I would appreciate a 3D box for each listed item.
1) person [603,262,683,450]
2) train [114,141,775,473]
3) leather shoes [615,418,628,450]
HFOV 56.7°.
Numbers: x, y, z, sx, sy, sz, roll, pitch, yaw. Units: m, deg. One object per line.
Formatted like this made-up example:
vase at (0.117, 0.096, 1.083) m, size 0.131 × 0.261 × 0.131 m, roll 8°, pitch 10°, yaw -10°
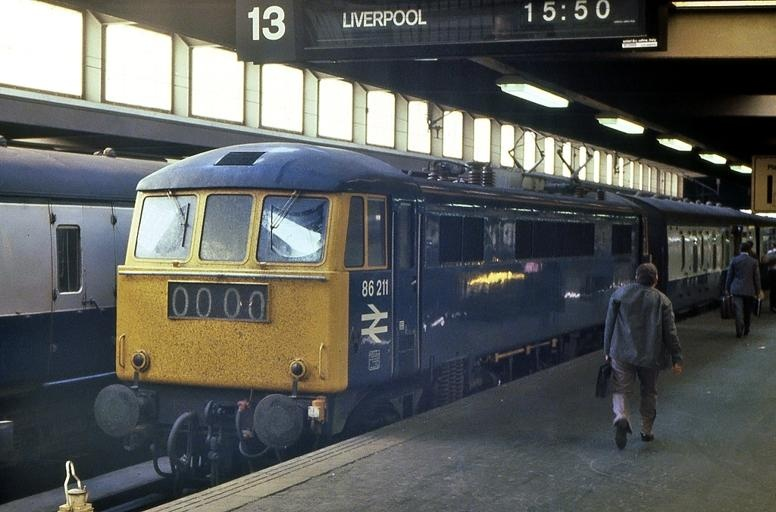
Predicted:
person at (3.542, 1.420, 10.172) m, size 0.919 × 2.548 × 0.605 m, roll 0°, pitch 6°, yaw -10°
train at (3.227, 0.483, 18.922) m, size 4.056 × 5.973 × 21.991 m, roll -1°, pitch -1°, yaw 32°
leather shoes at (3.238, 2.471, 10.013) m, size 0.148 × 0.494 × 0.186 m, roll 1°, pitch -2°, yaw 8°
